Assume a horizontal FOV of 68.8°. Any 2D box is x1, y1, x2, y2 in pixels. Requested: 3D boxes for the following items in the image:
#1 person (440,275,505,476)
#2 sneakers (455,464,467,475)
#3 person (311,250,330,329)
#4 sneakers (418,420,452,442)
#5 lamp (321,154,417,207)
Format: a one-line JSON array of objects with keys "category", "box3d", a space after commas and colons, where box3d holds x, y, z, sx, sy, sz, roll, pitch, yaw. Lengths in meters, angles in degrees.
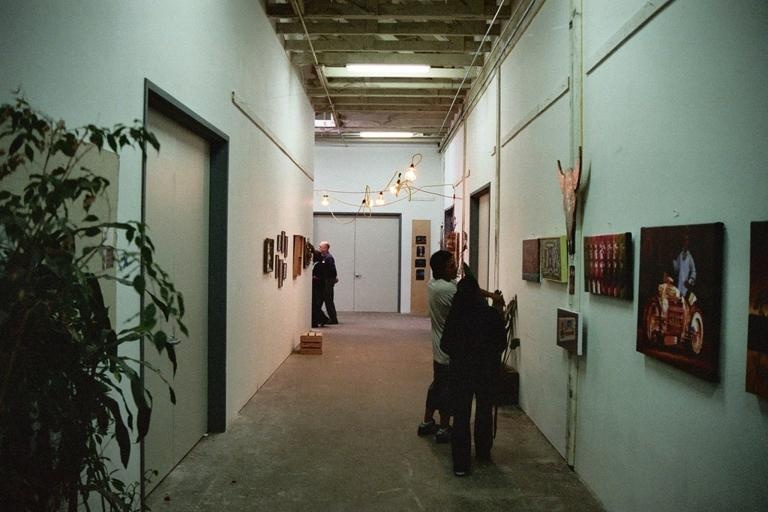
[{"category": "person", "box3d": [0.739, 0.927, 4.525, 0.489, 1.534, 0.341, -1, 5, -23]}, {"category": "sneakers", "box3d": [0.605, 1.669, 4.363, 0.110, 0.089, 0.044, 0, 5, -8]}, {"category": "person", "box3d": [-1.188, 0.603, 10.427, 0.313, 1.388, 0.473, 0, 5, -7]}, {"category": "sneakers", "box3d": [0.453, 1.563, 4.989, 0.291, 0.151, 0.126, 0, -1, 9]}, {"category": "lamp", "box3d": [-0.465, -1.594, 11.954, 2.202, 1.318, 1.874, 3, 6, 19]}]
